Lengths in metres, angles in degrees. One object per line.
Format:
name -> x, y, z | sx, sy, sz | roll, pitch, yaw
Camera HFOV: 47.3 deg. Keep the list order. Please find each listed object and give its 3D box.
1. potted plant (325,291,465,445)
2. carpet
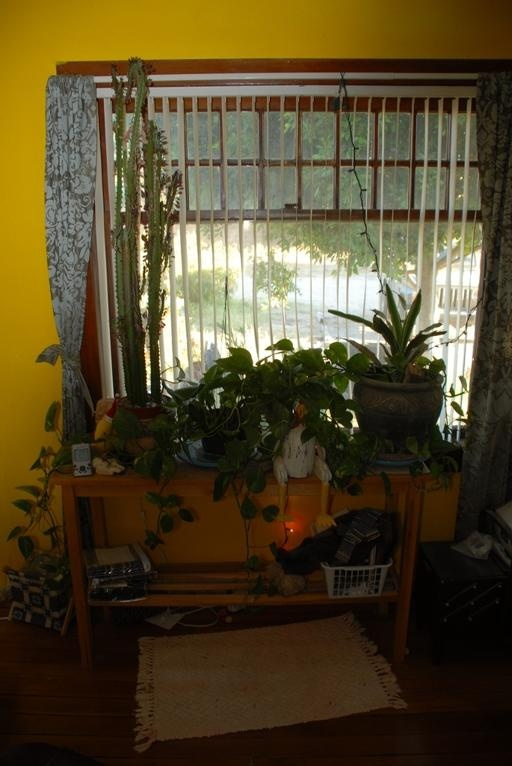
potted plant -> 0.471, -0.067, 1.960 | 0.384, 0.512, 0.568 | 6, 13, 28
carpet -> 0.025, 0.951, 1.927 | 0.827, 0.020, 0.499 | -2, 12, -11
